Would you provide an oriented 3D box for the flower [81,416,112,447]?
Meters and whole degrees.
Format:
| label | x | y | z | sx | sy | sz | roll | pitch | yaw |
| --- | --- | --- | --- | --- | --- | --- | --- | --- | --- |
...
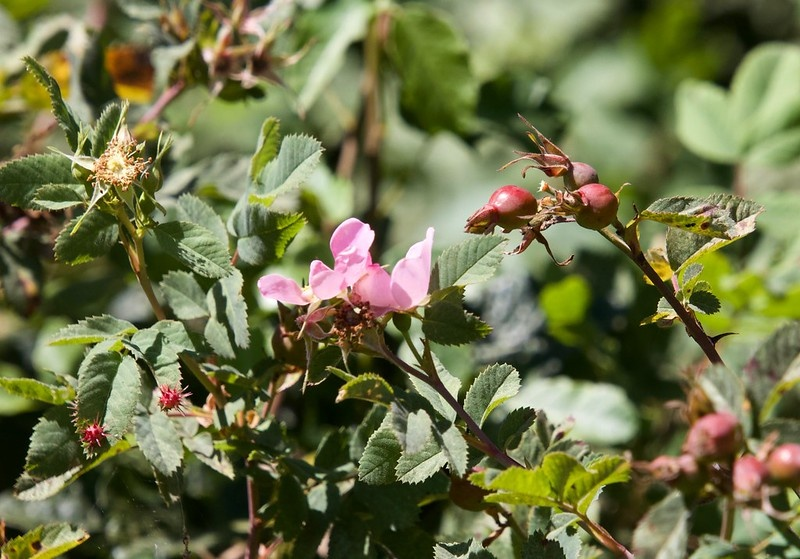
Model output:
| label | x | y | z | sx | sy | sz | roll | pitch | yaw |
| --- | --- | --- | --- | --- | --- | --- | --- | --- | --- |
| flower | -0.334 | 0.167 | 1.081 | 0.032 | 0.034 | 0.014 | 18 | 15 | -14 |

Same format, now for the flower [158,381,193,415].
| label | x | y | z | sx | sy | sz | roll | pitch | yaw |
| --- | --- | --- | --- | --- | --- | --- | --- | --- | --- |
| flower | -0.257 | 0.136 | 1.123 | 0.037 | 0.019 | 0.039 | 23 | 47 | 1 |
